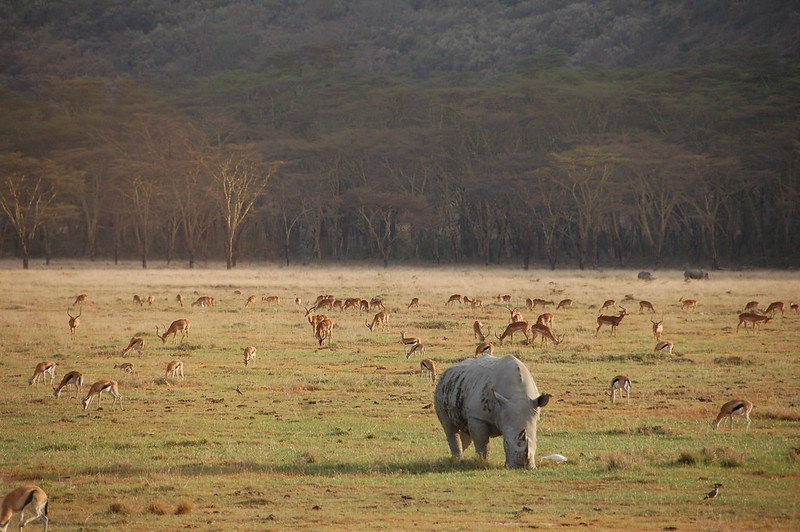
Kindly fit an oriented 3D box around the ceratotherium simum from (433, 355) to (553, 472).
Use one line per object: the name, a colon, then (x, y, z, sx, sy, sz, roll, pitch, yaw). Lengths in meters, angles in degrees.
ceratotherium simum: (14.824, 22.703, 333.675, 17.717, 16.895, 7.675, -2, -22, 1)
